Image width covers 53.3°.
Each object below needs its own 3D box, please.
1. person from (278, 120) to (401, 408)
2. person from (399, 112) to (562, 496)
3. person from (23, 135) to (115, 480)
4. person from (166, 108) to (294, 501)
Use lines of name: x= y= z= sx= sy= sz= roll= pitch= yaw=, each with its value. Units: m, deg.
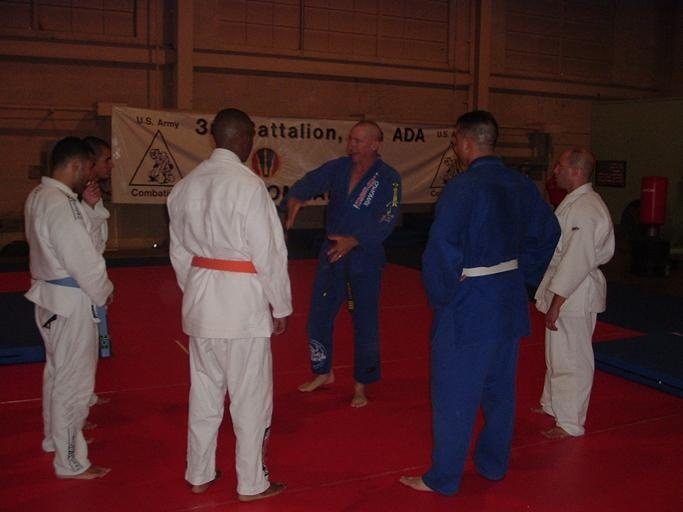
person: x=0.012 y=0.033 z=4.837 sx=0.783 sy=1.939 sz=0.513 roll=6 pitch=12 yaw=29
person: x=0.794 y=0.265 z=3.812 sx=0.878 sy=2.111 sz=0.383 roll=-8 pitch=13 yaw=-34
person: x=-1.571 y=0.290 z=3.952 sx=0.466 sy=1.924 sz=0.568 roll=-5 pitch=12 yaw=-25
person: x=-0.631 y=0.265 z=3.772 sx=0.704 sy=2.127 sz=0.474 roll=1 pitch=11 yaw=5
